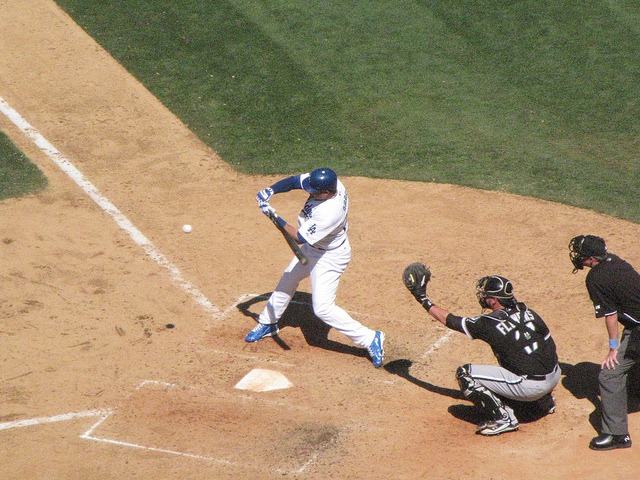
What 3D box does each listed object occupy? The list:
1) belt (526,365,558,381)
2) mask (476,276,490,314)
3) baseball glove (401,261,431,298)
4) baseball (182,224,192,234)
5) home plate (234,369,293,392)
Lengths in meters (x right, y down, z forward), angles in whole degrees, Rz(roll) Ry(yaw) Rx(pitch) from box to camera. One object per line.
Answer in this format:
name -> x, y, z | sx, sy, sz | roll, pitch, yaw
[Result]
belt -> 3.225, 1.918, 14.783 | 0.382, 0.057, 0.326 | 1, 4, 26
mask -> 2.425, 0.781, 15.017 | 0.228, 0.521, 0.293 | 13, 3, 8
baseball glove -> 1.321, 0.609, 15.319 | 0.550, 0.466, 0.537 | 4, -13, 22
baseball -> -2.468, -0.217, 18.774 | 0.181, 0.044, 0.181 | -6, 22, -20
home plate -> -0.860, 2.194, 15.862 | 0.831, 0.301, 0.391 | 6, 2, 3
